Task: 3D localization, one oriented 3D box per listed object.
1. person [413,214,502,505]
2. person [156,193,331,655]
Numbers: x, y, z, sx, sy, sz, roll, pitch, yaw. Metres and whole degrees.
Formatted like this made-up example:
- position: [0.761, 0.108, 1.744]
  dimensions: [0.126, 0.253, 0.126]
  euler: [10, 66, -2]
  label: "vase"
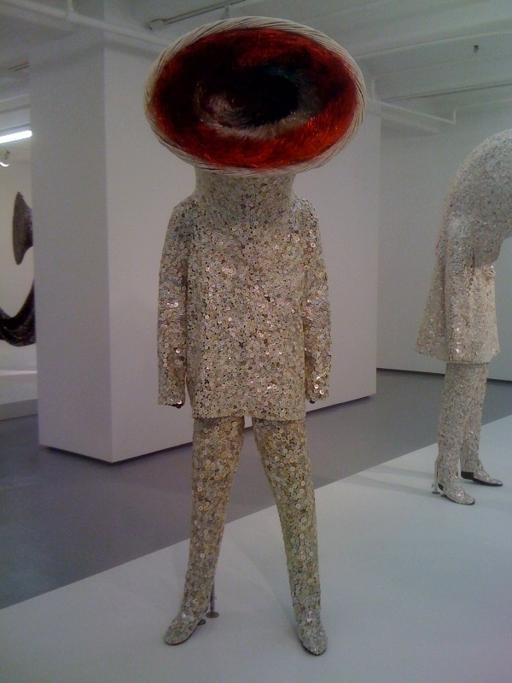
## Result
- position: [1.075, 0.077, 3.120]
  dimensions: [0.418, 1.537, 0.457]
  euler: [13, 18, 39]
  label: "person"
- position: [-0.048, 0.250, 1.749]
  dimensions: [0.526, 1.338, 0.322]
  euler: [1, 14, 2]
  label: "person"
